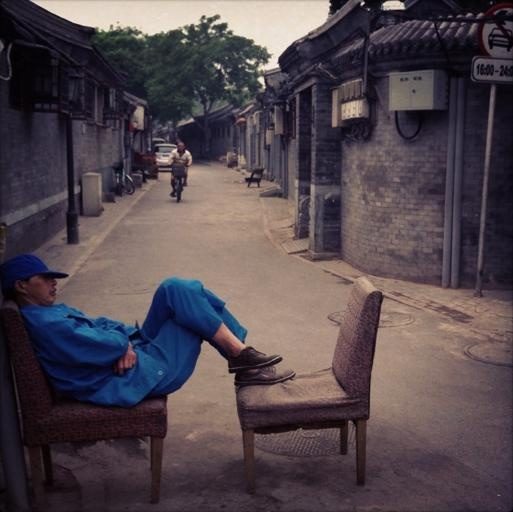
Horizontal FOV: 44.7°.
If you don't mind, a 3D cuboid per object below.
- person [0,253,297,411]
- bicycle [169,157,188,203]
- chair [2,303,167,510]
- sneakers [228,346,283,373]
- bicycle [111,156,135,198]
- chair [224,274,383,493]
[{"bbox_3d":[-0.647,0.356,3.982,1.733,1.252,0.788,-1,-1,-22],"label":"person"},{"bbox_3d":[-2.307,-2.242,19.886,0.392,0.733,1.213,-6,47,-28],"label":"bicycle"},{"bbox_3d":[-0.956,0.754,3.825,0.846,1.429,0.872,-1,1,-10],"label":"chair"},{"bbox_3d":[-0.024,0.633,3.847,0.343,0.195,0.132,-8,5,-9],"label":"sneakers"},{"bbox_3d":[-4.861,-2.780,22.890,0.714,1.058,2.225,-2,10,-13],"label":"bicycle"},{"bbox_3d":[0.209,0.748,4.145,0.894,1.554,0.998,0,-2,-6],"label":"chair"}]
